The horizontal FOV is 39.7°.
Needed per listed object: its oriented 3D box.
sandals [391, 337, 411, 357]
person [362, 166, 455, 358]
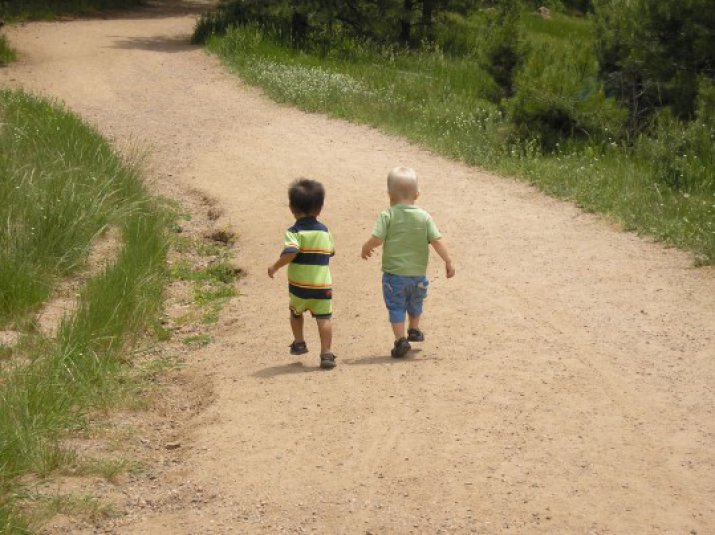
[{"bbox_3d":[0.401,0.761,9.165,0.105,0.236,0.114,-7,65,-25],"label":"sandals"},{"bbox_3d":[0.460,-0.055,9.246,0.852,1.711,0.836,-20,35,-36],"label":"person"}]
